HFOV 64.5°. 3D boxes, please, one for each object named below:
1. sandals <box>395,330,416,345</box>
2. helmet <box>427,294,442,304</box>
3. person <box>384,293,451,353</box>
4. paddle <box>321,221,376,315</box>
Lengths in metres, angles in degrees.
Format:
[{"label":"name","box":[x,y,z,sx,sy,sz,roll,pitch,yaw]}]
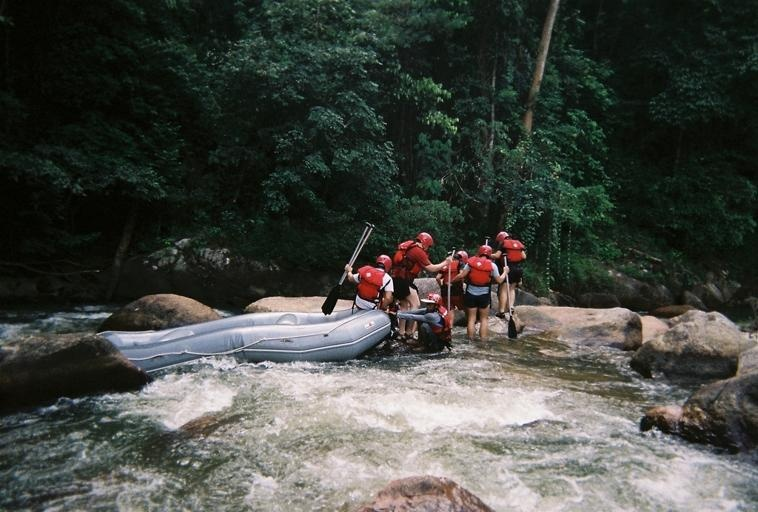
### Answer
[{"label":"sandals","box":[0.661,2.099,15.263,0.625,0.270,0.219,-2,1,33]},{"label":"helmet","box":[1.356,1.053,14.720,0.308,0.155,0.212,4,5,-12]},{"label":"person","box":[1.062,1.579,14.909,1.554,1.445,0.749,9,9,5]},{"label":"paddle","box":[-0.985,0.375,18.033,0.425,2.950,0.396,30,-4,12]}]
